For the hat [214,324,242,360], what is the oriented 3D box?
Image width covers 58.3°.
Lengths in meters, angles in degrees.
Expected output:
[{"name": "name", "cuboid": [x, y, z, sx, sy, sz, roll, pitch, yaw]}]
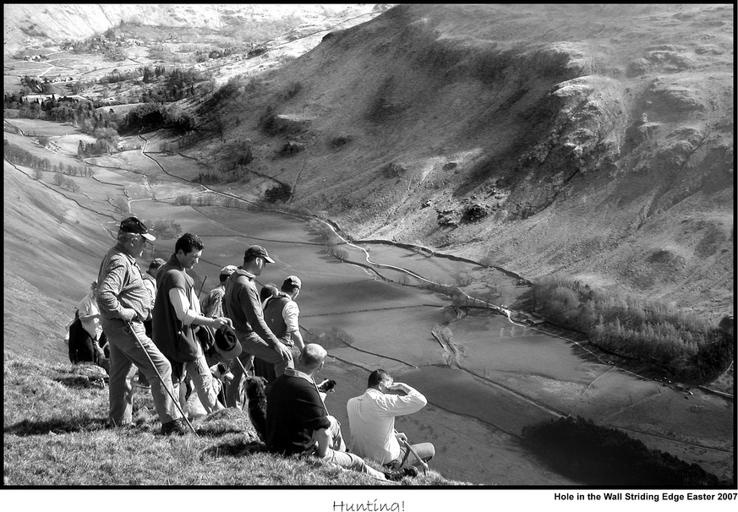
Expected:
[{"name": "hat", "cuboid": [-3.998, 2.449, 18.519, 0.675, 0.961, 0.322, -39, -1, 22]}]

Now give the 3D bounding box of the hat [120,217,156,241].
[{"name": "hat", "cuboid": [-5.907, -0.677, 16.975, 0.828, 0.447, 0.535, 24, 3, -41]}]
